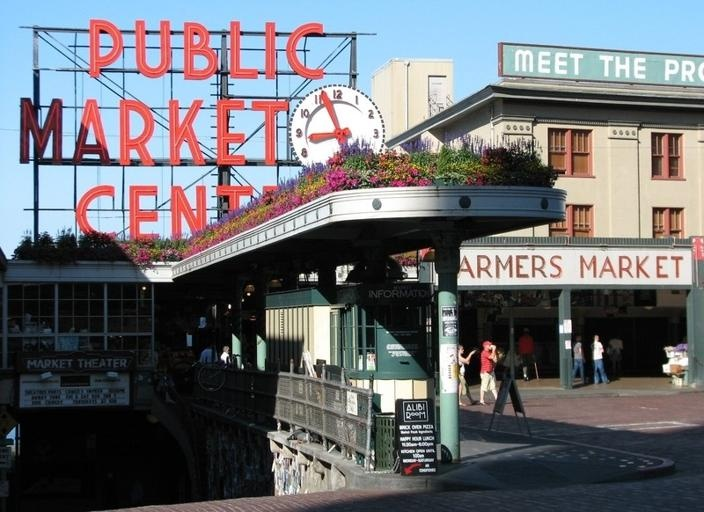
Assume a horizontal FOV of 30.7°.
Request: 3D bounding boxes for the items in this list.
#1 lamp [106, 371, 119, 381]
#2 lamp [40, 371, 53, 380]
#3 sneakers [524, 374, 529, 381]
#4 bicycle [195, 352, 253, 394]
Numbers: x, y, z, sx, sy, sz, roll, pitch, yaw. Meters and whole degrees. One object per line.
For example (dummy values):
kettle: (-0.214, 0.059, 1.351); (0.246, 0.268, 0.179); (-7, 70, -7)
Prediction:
lamp: (-9.196, 4.532, 49.043); (0.548, 0.308, 0.378); (7, -47, -14)
lamp: (-11.601, 4.477, 48.549); (0.471, 0.288, 0.137); (3, -6, -43)
sneakers: (7.574, 5.242, 55.870); (0.286, 0.292, 0.170); (-2, -2, 24)
bicycle: (-4.531, 4.129, 45.790); (1.328, 0.859, 2.305); (2, -7, -22)
